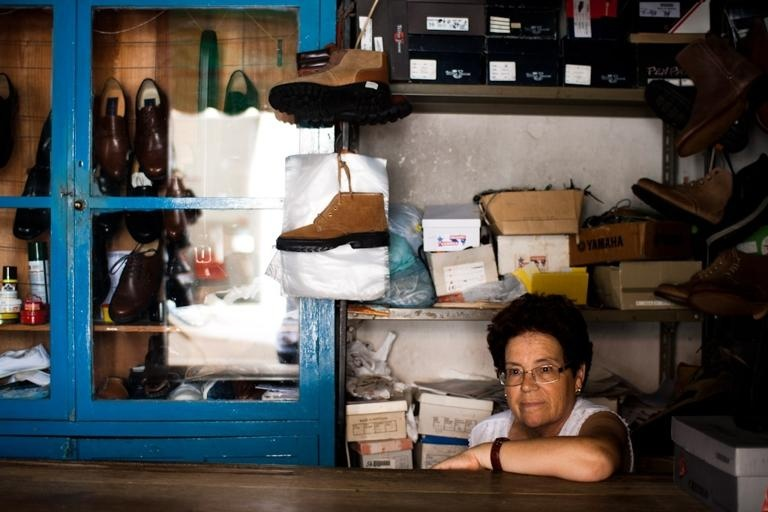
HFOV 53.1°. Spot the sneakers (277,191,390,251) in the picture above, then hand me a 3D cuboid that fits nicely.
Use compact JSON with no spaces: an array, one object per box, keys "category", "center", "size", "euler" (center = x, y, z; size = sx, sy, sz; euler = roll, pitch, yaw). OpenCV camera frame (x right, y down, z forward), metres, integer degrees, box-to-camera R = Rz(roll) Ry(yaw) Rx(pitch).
[{"category":"sneakers","center":[-0.247,-0.142,3.141],"size":[0.521,0.251,0.193],"euler":[1,3,-6]}]

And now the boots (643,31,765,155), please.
[{"category":"boots","center":[1.377,-0.720,3.292],"size":[0.518,0.249,0.374],"euler":[-36,29,26]}]

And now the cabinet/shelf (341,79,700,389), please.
[{"category":"cabinet/shelf","center":[0.566,-0.117,3.554],"size":[1.544,1.345,0.449],"euler":[2,-3,-6]}]

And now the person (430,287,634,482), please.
[{"category":"person","center":[0.589,0.536,2.934],"size":[0.766,0.738,0.448],"euler":[-12,-19,42]}]

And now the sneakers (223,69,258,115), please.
[{"category":"sneakers","center":[-0.653,-0.732,3.486],"size":[0.127,0.209,0.072],"euler":[-3,5,14]}]
